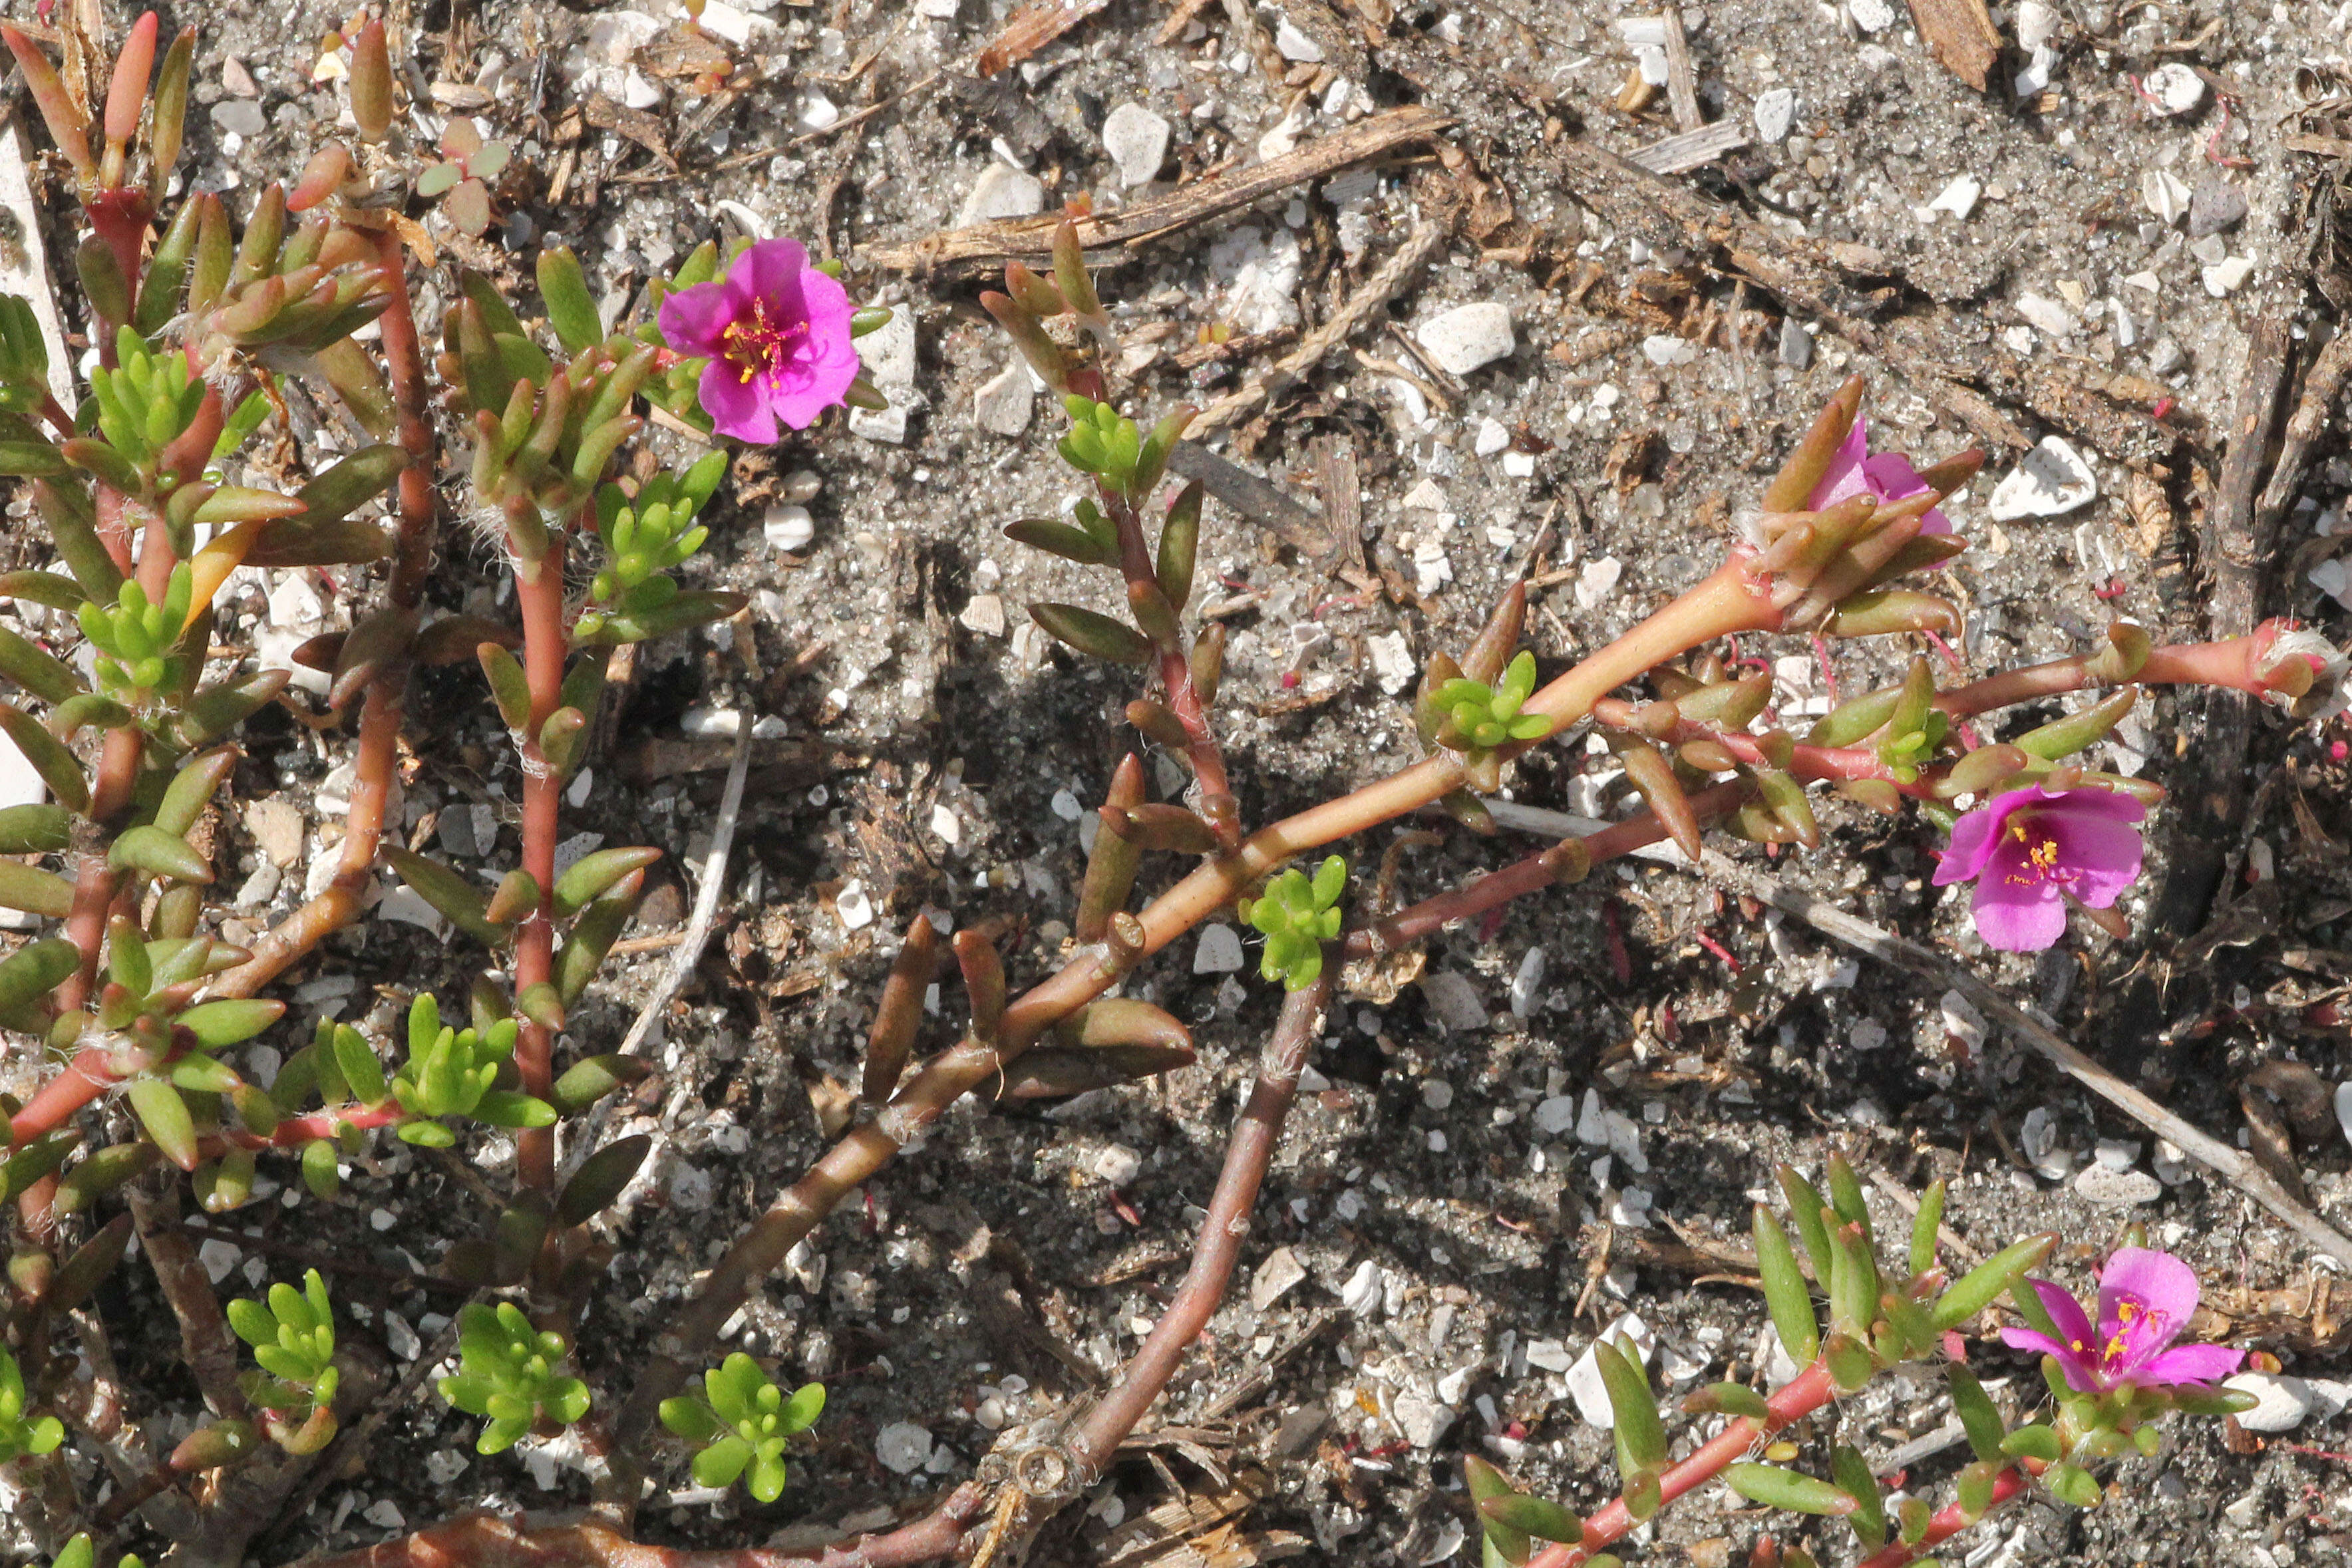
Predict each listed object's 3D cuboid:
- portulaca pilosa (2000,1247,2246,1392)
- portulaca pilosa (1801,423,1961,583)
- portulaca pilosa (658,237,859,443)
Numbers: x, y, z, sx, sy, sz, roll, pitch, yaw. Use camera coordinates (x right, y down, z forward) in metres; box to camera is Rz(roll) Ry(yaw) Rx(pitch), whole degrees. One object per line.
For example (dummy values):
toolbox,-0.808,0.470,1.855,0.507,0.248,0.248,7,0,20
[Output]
portulaca pilosa,1.191,0.691,3.043,0.277,0.133,0.175,6,28,-8
portulaca pilosa,0.904,-0.373,2.997,0.172,0.154,0.331,20,29,18
portulaca pilosa,-0.523,-0.566,2.988,0.240,0.256,0.115,-34,14,-8
